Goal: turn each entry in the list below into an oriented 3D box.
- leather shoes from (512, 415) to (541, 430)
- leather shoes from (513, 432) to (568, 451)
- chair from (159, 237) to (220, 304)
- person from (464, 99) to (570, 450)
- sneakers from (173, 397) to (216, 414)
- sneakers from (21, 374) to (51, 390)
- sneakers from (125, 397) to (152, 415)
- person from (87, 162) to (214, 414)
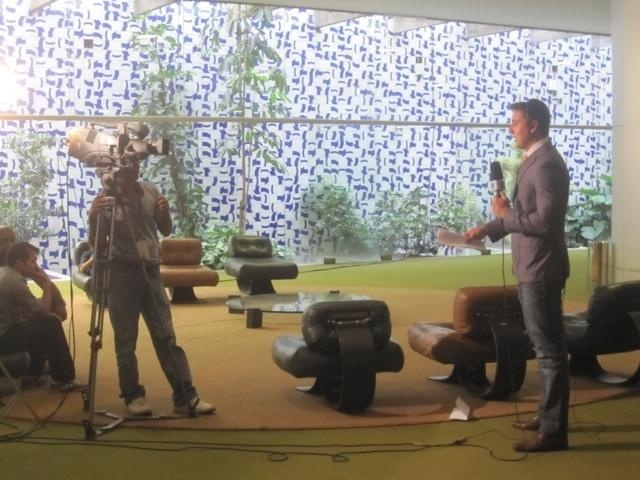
[{"bbox_3d":[1.378,1.196,3.838,0.192,0.076,0.070,2,0,24],"label":"leather shoes"},{"bbox_3d":[1.360,1.242,3.603,0.357,0.141,0.120,2,-5,-3],"label":"leather shoes"},{"bbox_3d":[-1.891,0.430,8.175,1.063,0.906,0.988,1,2,-17],"label":"chair"},{"bbox_3d":[1.348,0.182,3.689,0.530,2.165,0.623,-4,8,-28],"label":"person"},{"bbox_3d":[-0.891,1.144,4.068,0.244,0.112,0.127,-2,-2,-2],"label":"sneakers"},{"bbox_3d":[-2.273,1.126,4.670,0.075,0.090,0.231,3,6,42],"label":"sneakers"},{"bbox_3d":[-1.257,1.145,4.019,0.089,0.086,0.217,5,-10,-36],"label":"sneakers"},{"bbox_3d":[-1.221,0.344,4.076,0.792,1.742,0.518,-2,7,-14],"label":"person"}]
